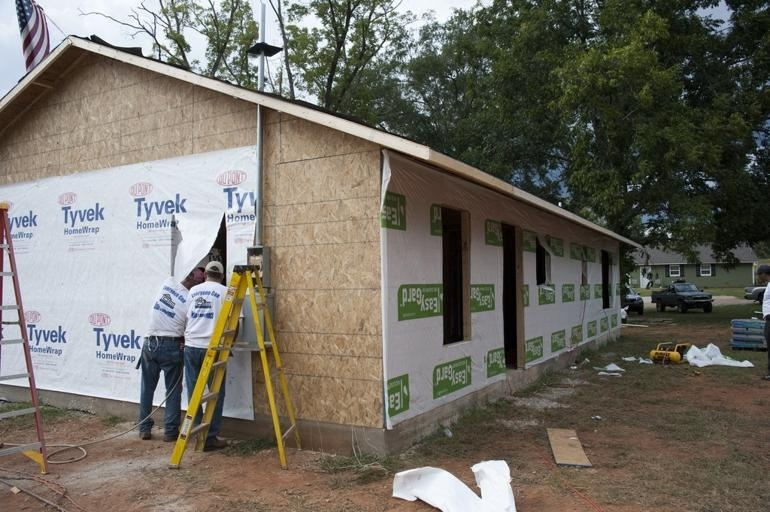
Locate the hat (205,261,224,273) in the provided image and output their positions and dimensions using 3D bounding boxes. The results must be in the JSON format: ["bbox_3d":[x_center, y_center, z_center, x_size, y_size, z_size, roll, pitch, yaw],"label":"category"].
[{"bbox_3d":[-2.852,0.212,10.747,0.272,0.198,0.447,8,-3,-8],"label":"hat"}]

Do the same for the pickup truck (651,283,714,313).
[{"bbox_3d":[14.828,2.089,31.383,1.465,1.160,2.674,1,-6,-20],"label":"pickup truck"}]
